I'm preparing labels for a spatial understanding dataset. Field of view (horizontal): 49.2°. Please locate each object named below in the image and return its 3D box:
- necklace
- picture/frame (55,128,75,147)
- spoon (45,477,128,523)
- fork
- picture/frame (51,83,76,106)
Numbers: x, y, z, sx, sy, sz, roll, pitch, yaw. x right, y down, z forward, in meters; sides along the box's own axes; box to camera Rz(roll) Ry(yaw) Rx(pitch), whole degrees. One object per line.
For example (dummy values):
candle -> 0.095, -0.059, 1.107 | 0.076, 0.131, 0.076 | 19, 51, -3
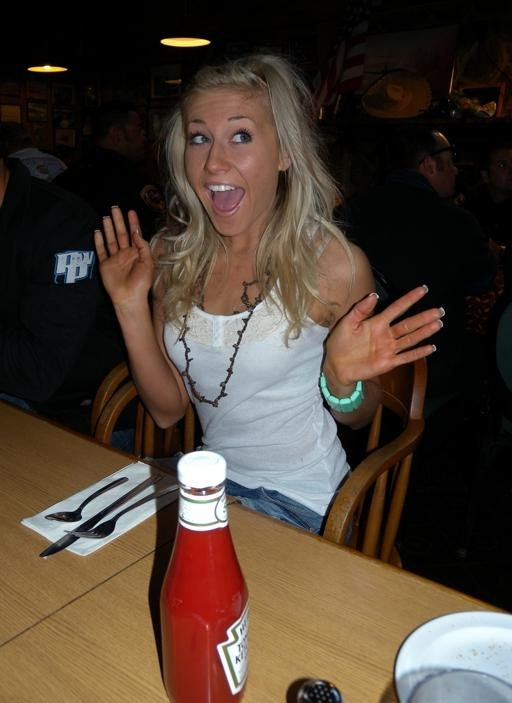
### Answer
necklace -> -0.066, -0.020, 1.317 | 0.182, 0.303, 0.076 | 14, 3, 31
picture/frame -> -1.976, -2.199, 5.733 | 0.204, 0.187, 0.047 | -3, 11, -28
spoon -> -0.242, 0.221, 0.811 | 0.029, 0.019, 0.137 | 12, 22, 28
fork -> -0.162, 0.220, 0.849 | 0.041, 0.037, 0.276 | 13, 15, 32
picture/frame -> -1.970, -2.615, 5.665 | 0.029, 0.258, 0.272 | 17, 16, 43
